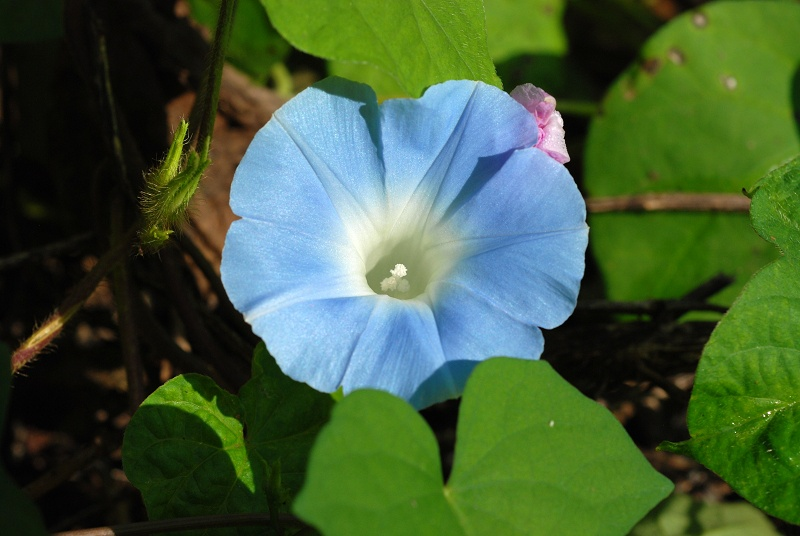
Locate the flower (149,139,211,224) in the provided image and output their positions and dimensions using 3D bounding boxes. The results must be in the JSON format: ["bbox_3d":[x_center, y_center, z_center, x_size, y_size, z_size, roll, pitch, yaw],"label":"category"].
[{"bbox_3d":[-0.492,-0.230,1.774,0.109,0.260,0.087,12,19,-4],"label":"flower"}]
